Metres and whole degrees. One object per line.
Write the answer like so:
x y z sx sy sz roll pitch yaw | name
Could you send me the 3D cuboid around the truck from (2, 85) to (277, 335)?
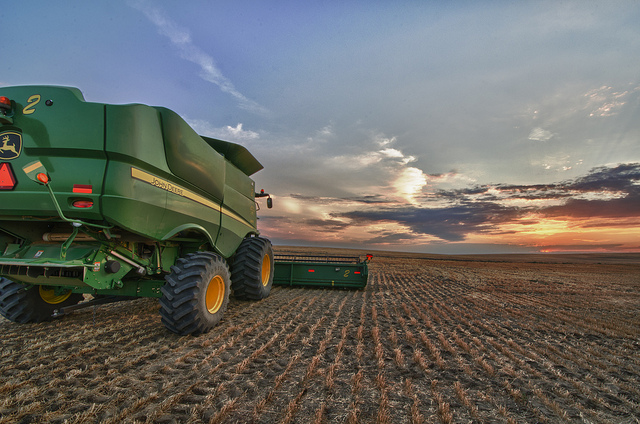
-3.431 -0.084 8.010 4.319 3.170 6.721 1 1 18 | truck
